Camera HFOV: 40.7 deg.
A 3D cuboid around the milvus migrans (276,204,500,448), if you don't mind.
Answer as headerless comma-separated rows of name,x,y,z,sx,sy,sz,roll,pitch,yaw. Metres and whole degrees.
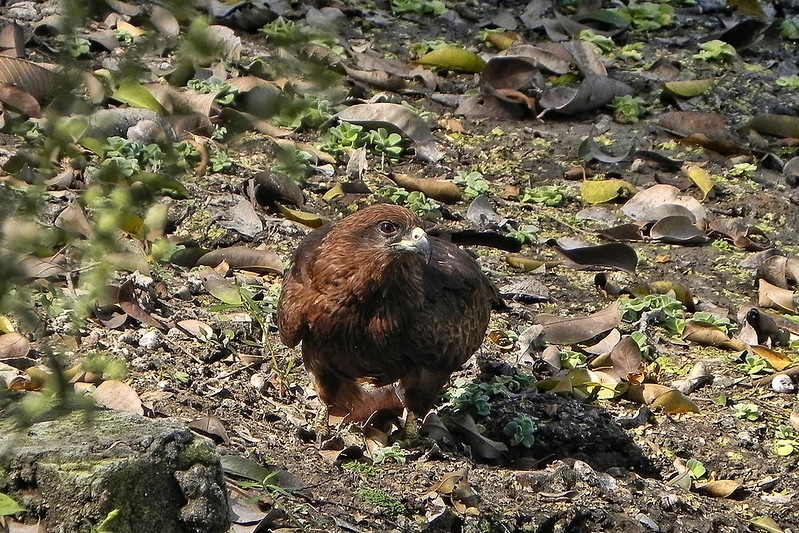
milvus migrans,-0.084,0.254,6.200,1.216,1.200,0.810,-3,42,-6
